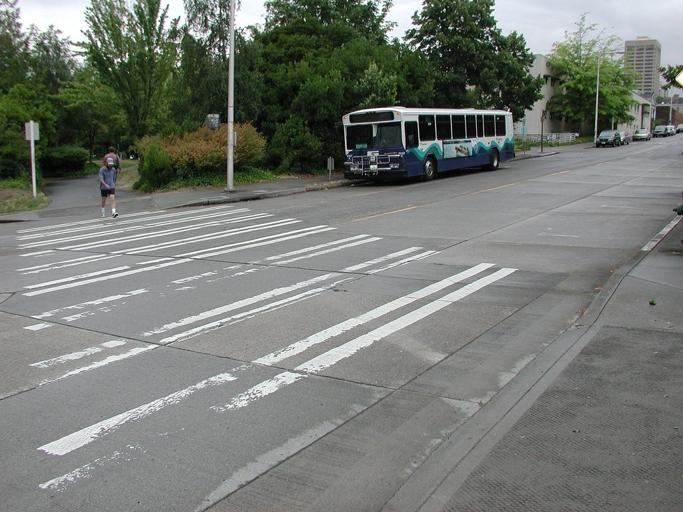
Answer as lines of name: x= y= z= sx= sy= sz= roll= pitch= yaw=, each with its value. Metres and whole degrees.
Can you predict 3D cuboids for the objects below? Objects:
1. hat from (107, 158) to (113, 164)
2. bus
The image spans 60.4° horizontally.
hat: x=-8.566 y=-3.462 z=21.689 sx=0.201 sy=0.266 sz=0.233 roll=-5 pitch=18 yaw=-13
bus: x=5.481 y=-6.340 z=34.555 sx=3.899 sy=4.334 sz=13.374 roll=5 pitch=12 yaw=39
